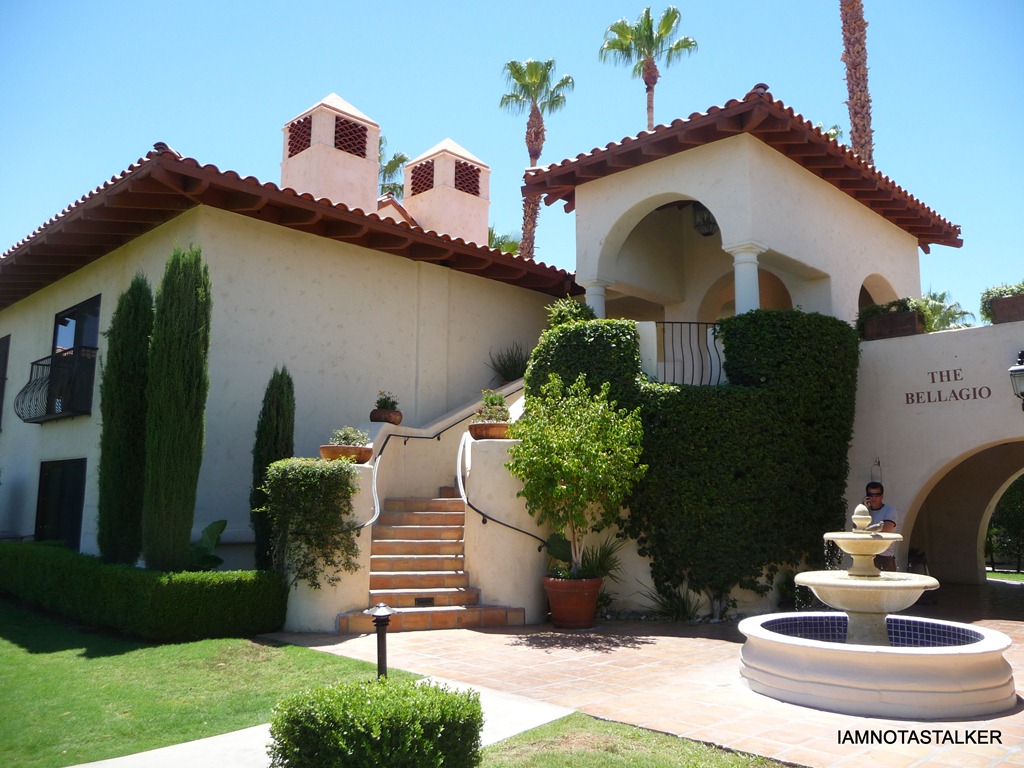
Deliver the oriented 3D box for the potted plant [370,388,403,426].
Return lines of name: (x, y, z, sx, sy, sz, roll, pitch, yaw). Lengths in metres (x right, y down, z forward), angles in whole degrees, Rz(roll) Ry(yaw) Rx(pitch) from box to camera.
potted plant: (-2.390, 0.439, 16.583, 0.574, 0.637, 0.605, 2, -13, -11)

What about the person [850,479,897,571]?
person: (5.958, 2.529, 14.033, 0.486, 1.894, 0.608, -5, 3, -25)

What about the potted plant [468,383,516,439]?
potted plant: (-0.285, 0.601, 14.749, 0.634, 0.869, 0.622, 21, -25, -38)

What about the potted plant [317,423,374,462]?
potted plant: (-2.675, 0.998, 14.145, 0.670, 0.456, 0.657, 7, -10, -36)
